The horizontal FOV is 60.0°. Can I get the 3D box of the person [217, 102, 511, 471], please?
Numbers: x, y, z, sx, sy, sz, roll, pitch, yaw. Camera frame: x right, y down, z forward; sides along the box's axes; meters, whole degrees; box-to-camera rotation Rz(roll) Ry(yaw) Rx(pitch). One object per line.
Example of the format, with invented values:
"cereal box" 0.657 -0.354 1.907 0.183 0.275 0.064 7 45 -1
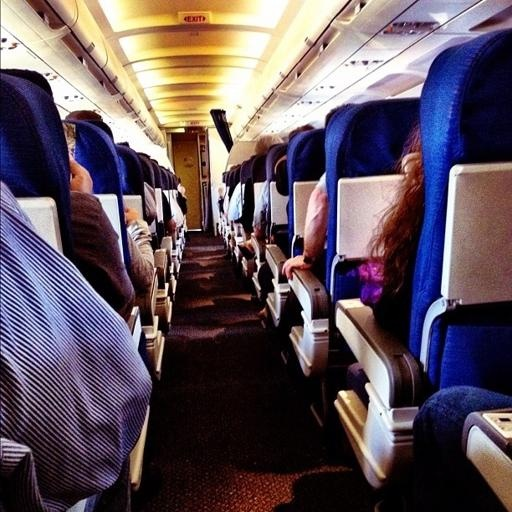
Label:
"person" 0.408 0.089 1.246 0.299 0.976 0.624 -5 10 -15
